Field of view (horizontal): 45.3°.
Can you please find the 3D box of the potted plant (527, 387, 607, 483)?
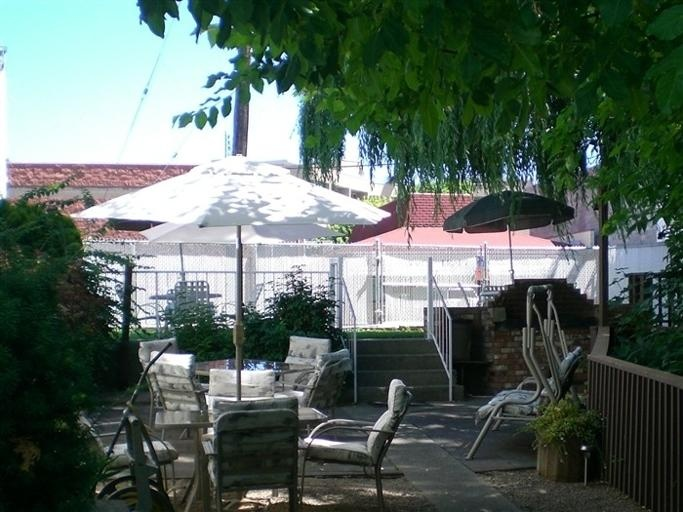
[{"bbox_3d":[2.286,1.831,8.445,0.643,0.854,0.717,-1,1,-5],"label":"potted plant"}]
